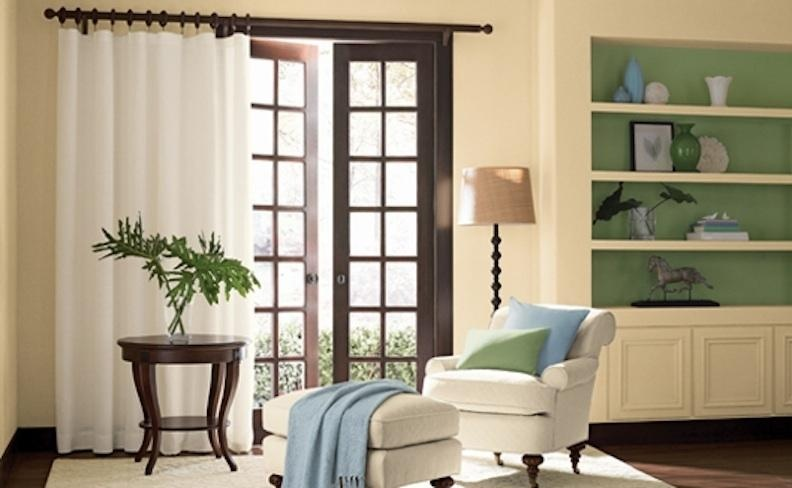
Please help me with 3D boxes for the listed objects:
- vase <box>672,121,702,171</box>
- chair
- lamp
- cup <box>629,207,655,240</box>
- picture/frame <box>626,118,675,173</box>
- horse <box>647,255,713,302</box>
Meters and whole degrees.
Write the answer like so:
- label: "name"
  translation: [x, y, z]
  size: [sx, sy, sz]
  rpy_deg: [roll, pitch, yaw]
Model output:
- label: "vase"
  translation: [2.742, -0.910, 7.112]
  size: [0.254, 0.450, 0.267]
  rpy_deg: [1, 4, 19]
- label: "chair"
  translation: [1.121, 1.126, 6.376]
  size: [1.333, 1.352, 1.498]
  rpy_deg: [-4, -9, 36]
- label: "lamp"
  translation: [0.895, -0.067, 6.745]
  size: [0.653, 1.290, 0.459]
  rpy_deg: [0, 4, 3]
- label: "cup"
  translation: [2.307, -0.195, 7.046]
  size: [0.299, 0.304, 0.283]
  rpy_deg: [0, -5, 0]
- label: "picture/frame"
  translation: [2.417, -0.924, 7.157]
  size: [0.611, 0.639, 0.048]
  rpy_deg: [1, -3, -2]
- label: "horse"
  translation: [2.647, 0.317, 7.032]
  size: [0.642, 0.399, 0.133]
  rpy_deg: [0, -1, -7]
